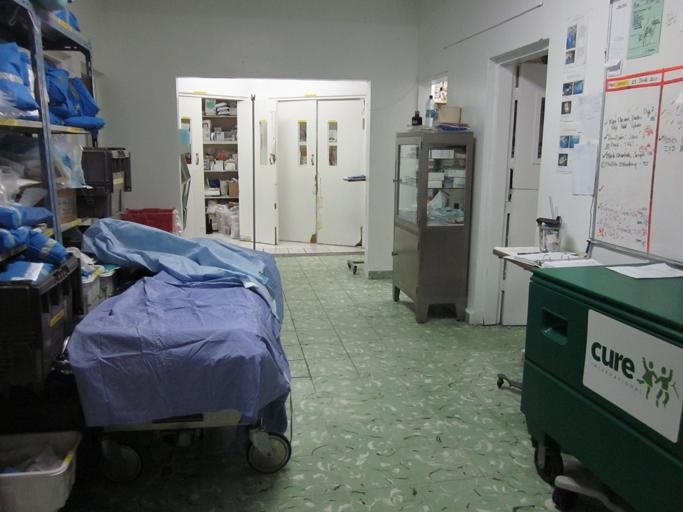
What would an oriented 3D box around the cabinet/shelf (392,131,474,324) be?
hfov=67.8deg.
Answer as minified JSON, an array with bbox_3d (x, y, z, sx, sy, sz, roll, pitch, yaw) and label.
[{"bbox_3d":[0.898,-0.323,5.274,0.869,1.962,0.574,6,12,27],"label":"cabinet/shelf"}]

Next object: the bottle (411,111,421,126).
[{"bbox_3d":[0.796,-1.458,5.394,0.081,0.167,0.315,3,11,11],"label":"bottle"}]

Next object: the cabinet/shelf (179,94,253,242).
[{"bbox_3d":[-2.262,-1.547,8.986,1.071,2.434,1.442,-3,12,-19],"label":"cabinet/shelf"}]

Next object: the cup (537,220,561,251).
[{"bbox_3d":[1.517,-0.146,3.724,0.209,0.228,0.175,-2,8,-11],"label":"cup"}]

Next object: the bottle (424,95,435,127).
[{"bbox_3d":[0.918,-1.479,5.261,0.095,0.314,0.342,2,11,9],"label":"bottle"}]
